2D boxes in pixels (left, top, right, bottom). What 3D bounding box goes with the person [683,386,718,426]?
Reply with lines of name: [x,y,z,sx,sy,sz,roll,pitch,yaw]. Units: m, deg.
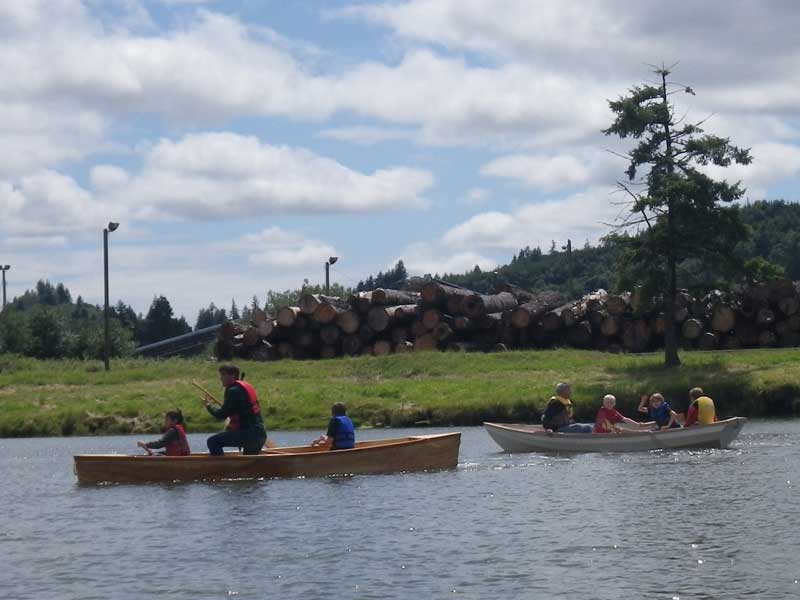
person: [10.130,3.727,59.276,0.997,1.443,0.832,-8,11,-26]
